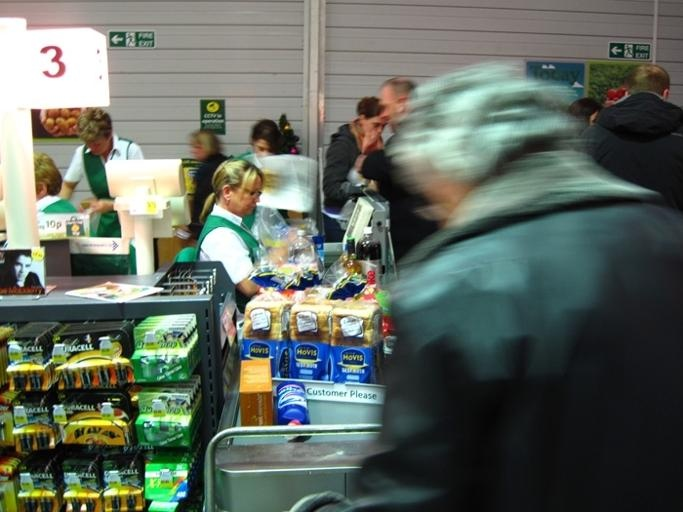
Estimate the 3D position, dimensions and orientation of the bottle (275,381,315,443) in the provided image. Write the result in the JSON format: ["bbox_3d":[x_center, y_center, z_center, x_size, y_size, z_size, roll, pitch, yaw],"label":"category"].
[{"bbox_3d":[-0.153,0.465,1.976,0.112,0.104,0.186,21,24,-17],"label":"bottle"}]

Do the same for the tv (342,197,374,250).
[{"bbox_3d":[0.088,-0.167,3.297,0.100,0.244,0.295,8,15,-7],"label":"tv"}]

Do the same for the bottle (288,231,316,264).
[{"bbox_3d":[-0.199,-0.038,3.109,0.136,0.213,0.132,-1,16,0],"label":"bottle"}]

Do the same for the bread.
[{"bbox_3d":[-0.096,0.208,2.107,0.323,0.106,0.172,2,10,10],"label":"bread"}]
